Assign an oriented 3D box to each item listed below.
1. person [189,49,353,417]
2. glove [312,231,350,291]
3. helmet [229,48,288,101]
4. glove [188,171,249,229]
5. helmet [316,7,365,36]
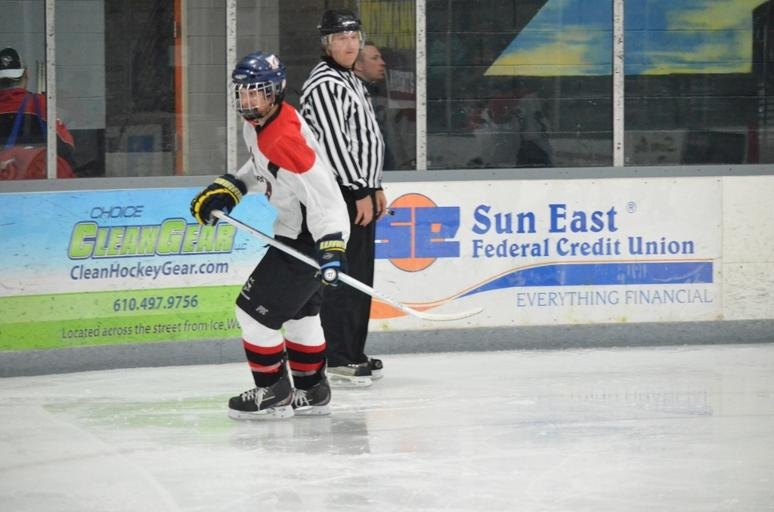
[{"bbox_3d":[-0.615,-0.100,7.773,0.884,2.021,0.390,1,9,20],"label":"person"},{"bbox_3d":[-0.307,0.008,7.601,0.196,0.261,0.119,1,0,16],"label":"glove"},{"bbox_3d":[-0.655,-0.989,7.667,0.323,0.257,0.239,3,-3,-38],"label":"helmet"},{"bbox_3d":[-0.948,-0.307,7.963,0.338,0.234,0.151,-35,-18,-4],"label":"glove"},{"bbox_3d":[-0.285,-1.373,8.358,0.194,0.157,0.198,-5,-5,-36],"label":"helmet"}]
